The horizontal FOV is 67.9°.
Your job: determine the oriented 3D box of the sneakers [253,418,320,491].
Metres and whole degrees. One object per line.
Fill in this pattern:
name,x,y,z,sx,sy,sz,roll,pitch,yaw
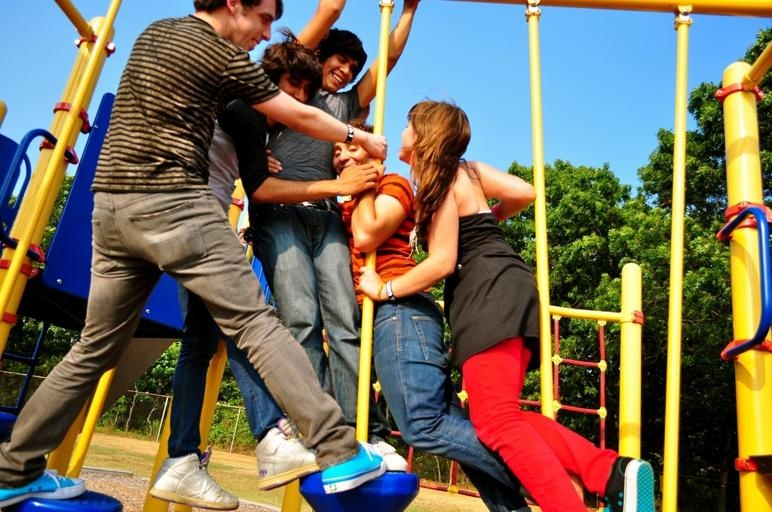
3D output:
sneakers,-0.427,0.975,2.872,0.470,0.296,0.179,-15,-25,8

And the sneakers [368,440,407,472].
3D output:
sneakers,-0.010,1.047,3.008,0.108,0.122,0.299,3,-10,-24

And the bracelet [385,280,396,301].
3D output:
bracelet,0.021,0.189,3.071,0.023,0.083,0.087,-11,-21,-2

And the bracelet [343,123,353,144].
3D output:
bracelet,-0.197,-0.661,3.111,0.052,0.088,0.087,11,29,-10

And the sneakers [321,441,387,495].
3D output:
sneakers,-0.133,0.994,2.788,0.141,0.179,0.379,-7,4,39
